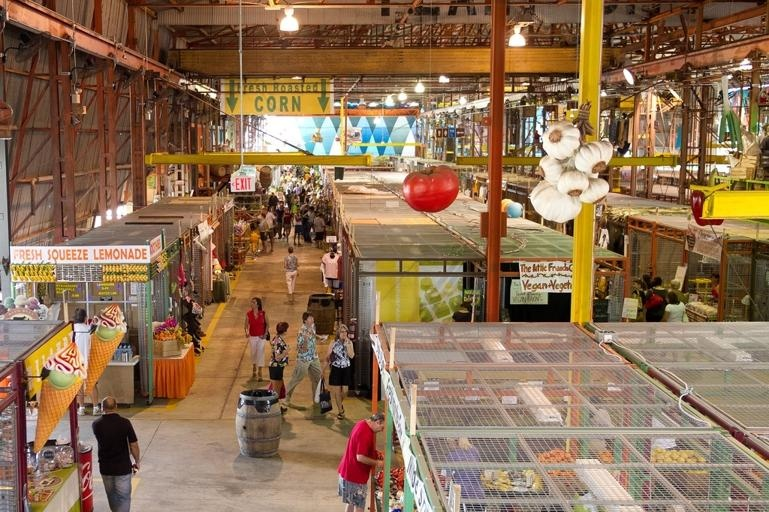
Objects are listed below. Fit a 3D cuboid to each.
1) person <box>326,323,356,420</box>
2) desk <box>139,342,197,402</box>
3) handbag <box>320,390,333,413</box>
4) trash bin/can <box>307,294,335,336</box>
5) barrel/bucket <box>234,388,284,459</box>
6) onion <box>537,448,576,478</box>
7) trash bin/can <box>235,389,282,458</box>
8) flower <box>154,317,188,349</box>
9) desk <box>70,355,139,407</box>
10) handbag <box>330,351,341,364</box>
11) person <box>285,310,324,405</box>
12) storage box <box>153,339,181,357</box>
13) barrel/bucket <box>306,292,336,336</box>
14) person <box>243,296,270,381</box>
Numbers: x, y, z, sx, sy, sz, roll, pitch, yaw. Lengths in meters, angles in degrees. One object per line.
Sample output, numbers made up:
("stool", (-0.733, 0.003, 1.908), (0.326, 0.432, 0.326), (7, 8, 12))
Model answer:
("person", (-0.797, 2.336, 12.448), (0.387, 1.721, 0.608), (-13, 40, -23))
("desk", (-4.332, 2.435, 12.939), (0.637, 0.779, 1.473), (0, 21, 3))
("handbag", (-1.159, 2.872, 12.347), (0.246, 0.454, 0.311), (-3, 12, -6))
("trash bin/can", (-1.626, 1.577, 16.928), (0.884, 1.283, 0.926), (0, 4, -3))
("barrel/bucket", (-2.098, 2.896, 10.822), (0.858, 1.119, 0.785), (0, 5, 0))
("onion", (1.359, 1.606, 4.852), (0.189, 0.054, 0.198), (1, 10, 10))
("trash bin/can", (-2.162, 2.824, 10.551), (0.694, 1.102, 0.777), (-6, 50, 0))
("flower", (-4.435, 1.577, 12.866), (0.598, 0.451, 0.564), (5, 4, -6))
("desk", (-5.246, 2.490, 12.217), (0.889, 0.920, 0.505), (-1, 9, -7))
("handbag", (-0.964, 2.003, 12.382), (0.191, 0.227, 0.223), (-1, 2, 6))
("person", (-1.552, 2.074, 12.719), (0.752, 1.991, 0.762), (6, 21, 14))
("storage box", (-4.459, 1.886, 12.781), (0.370, 0.243, 0.375), (0, 2, -31))
("barrel/bucket", (-1.628, 1.565, 16.779), (0.894, 1.288, 0.926), (0, 5, 0))
("person", (-2.813, 1.774, 13.830), (0.499, 1.809, 1.029), (-5, 12, -13))
